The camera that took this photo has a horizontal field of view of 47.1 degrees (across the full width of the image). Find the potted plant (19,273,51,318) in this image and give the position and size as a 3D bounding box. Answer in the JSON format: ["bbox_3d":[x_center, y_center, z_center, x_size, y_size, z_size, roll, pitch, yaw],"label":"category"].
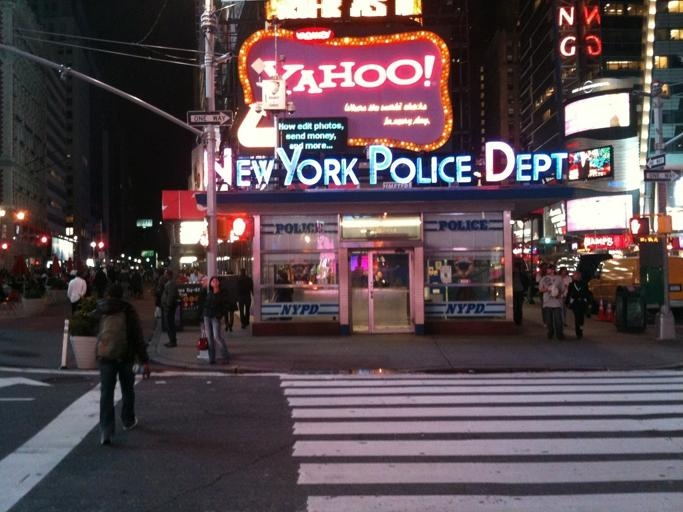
[{"bbox_3d":[-13.423,1.786,33.986,0.991,2.061,1.183,3,-8,-5],"label":"potted plant"}]

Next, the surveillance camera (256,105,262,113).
[{"bbox_3d":[-2.714,-4.829,25.572,0.114,0.136,0.264,-17,-8,-13],"label":"surveillance camera"}]

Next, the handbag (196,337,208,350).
[{"bbox_3d":[-3.690,2.355,20.852,0.277,0.377,0.574,0,-2,-11],"label":"handbag"}]

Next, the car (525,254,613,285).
[{"bbox_3d":[10.612,0.618,36.012,1.814,1.276,1.136,-9,-8,40],"label":"car"}]

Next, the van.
[{"bbox_3d":[11.847,1.297,31.460,2.006,2.249,4.382,1,1,1],"label":"van"}]

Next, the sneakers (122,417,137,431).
[{"bbox_3d":[-4.192,3.335,15.490,0.127,0.247,0.337,3,34,6],"label":"sneakers"}]

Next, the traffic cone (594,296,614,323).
[{"bbox_3d":[10.320,2.086,30.279,0.738,1.063,0.835,-1,-6,5],"label":"traffic cone"}]
